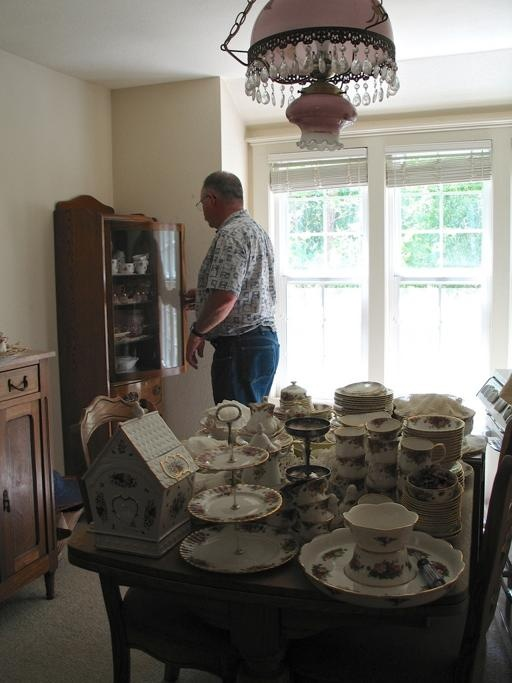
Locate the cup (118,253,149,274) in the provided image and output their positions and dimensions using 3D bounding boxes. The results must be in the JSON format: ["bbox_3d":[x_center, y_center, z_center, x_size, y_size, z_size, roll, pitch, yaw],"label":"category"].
[{"bbox_3d":[-0.681,-0.431,3.286,0.149,0.100,0.093,-3,12,-10],"label":"cup"}]

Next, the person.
[{"bbox_3d":[-0.123,-0.244,2.686,0.429,1.081,0.471,-2,5,-1],"label":"person"}]

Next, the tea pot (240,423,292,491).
[{"bbox_3d":[0.031,0.269,1.381,0.101,0.119,0.140,0,4,-8],"label":"tea pot"}]

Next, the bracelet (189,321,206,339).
[{"bbox_3d":[-0.261,-0.051,2.585,0.067,0.067,0.069,0,6,-4],"label":"bracelet"}]

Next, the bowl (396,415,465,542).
[{"bbox_3d":[0.385,0.288,1.286,0.126,0.090,0.279,-1,9,7],"label":"bowl"}]

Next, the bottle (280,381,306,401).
[{"bbox_3d":[0.120,0.163,1.955,0.067,0.062,0.066,-5,8,-22],"label":"bottle"}]
